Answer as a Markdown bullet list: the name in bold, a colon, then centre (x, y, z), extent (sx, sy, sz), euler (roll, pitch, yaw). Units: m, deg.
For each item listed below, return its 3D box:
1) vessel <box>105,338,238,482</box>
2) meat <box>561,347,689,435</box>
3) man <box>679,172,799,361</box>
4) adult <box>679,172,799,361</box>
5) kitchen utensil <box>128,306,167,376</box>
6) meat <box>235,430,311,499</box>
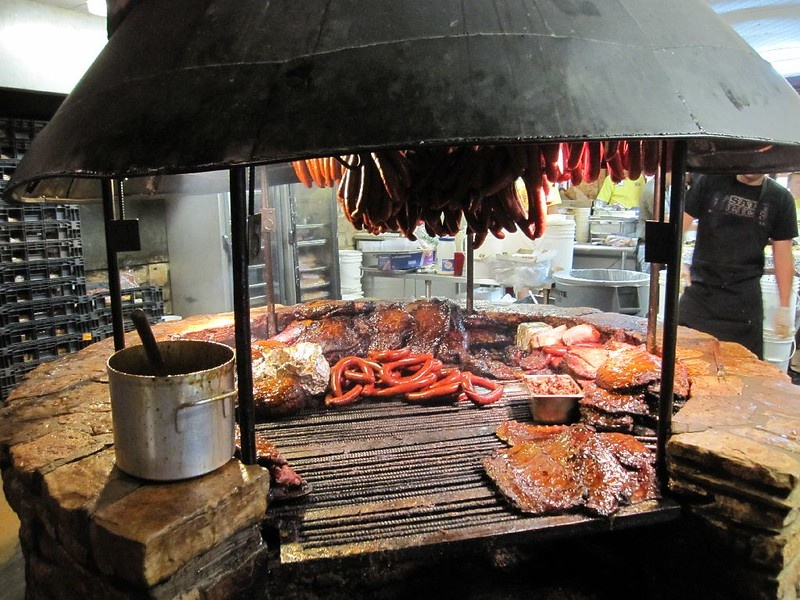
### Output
- **vessel**: centre (-0.886, 0.446, 2.543), extent (0.565, 0.441, 0.529), euler (7, 17, 18)
- **meat**: centre (1.236, 0.499, 3.255), extent (0.467, 0.146, 0.483), euler (0, 26, 20)
- **man**: centre (2.627, -0.301, 4.804), extent (0.867, 1.403, 0.527), euler (-4, -4, 41)
- **adult**: centre (2.628, -0.304, 4.799), extent (0.865, 1.397, 0.528), euler (-4, -4, 40)
- **kitchen utensil**: centre (-0.992, 0.167, 2.369), extent (0.117, 0.260, 0.264), euler (-1, -3, -23)
- **meat**: centre (-0.596, 0.757, 2.807), extent (0.327, 0.321, 0.311), euler (-1, -3, -21)
